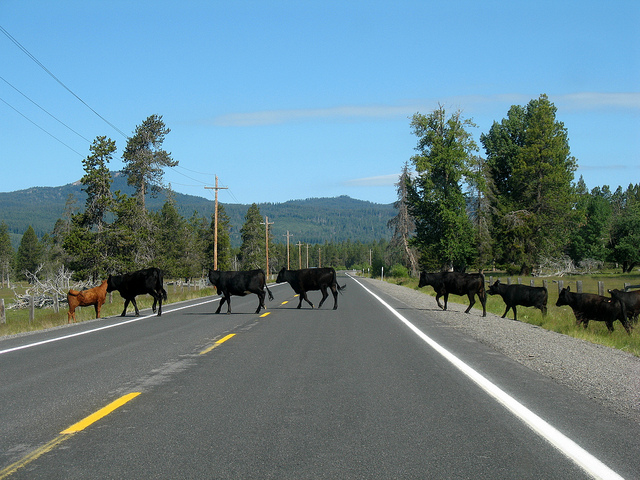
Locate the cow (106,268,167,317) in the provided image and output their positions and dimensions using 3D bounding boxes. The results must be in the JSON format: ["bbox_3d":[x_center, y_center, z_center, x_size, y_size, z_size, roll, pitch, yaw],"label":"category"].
[{"bbox_3d":[-7.303,2.126,21.660,2.142,1.991,0.734,-5,1,-4],"label":"cow"}]

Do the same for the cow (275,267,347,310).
[{"bbox_3d":[-0.464,2.052,24.013,2.429,1.625,1.544,-1,-4,5],"label":"cow"}]

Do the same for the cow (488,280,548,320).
[{"bbox_3d":[7.121,2.164,19.832,0.957,1.341,2.217,2,-5,-30],"label":"cow"}]

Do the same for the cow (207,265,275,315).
[{"bbox_3d":[-3.185,2.015,21.566,2.072,1.719,2.852,0,-5,-8],"label":"cow"}]

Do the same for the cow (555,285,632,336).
[{"bbox_3d":[8.264,2.143,16.483,0.752,1.244,2.481,0,-5,-14],"label":"cow"}]

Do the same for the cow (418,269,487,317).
[{"bbox_3d":[5.412,2.103,21.618,0.936,1.639,3.459,1,-5,-25],"label":"cow"}]

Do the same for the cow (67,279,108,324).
[{"bbox_3d":[-8.476,2.255,20.011,0.634,1.426,2.011,-1,-4,16],"label":"cow"}]
